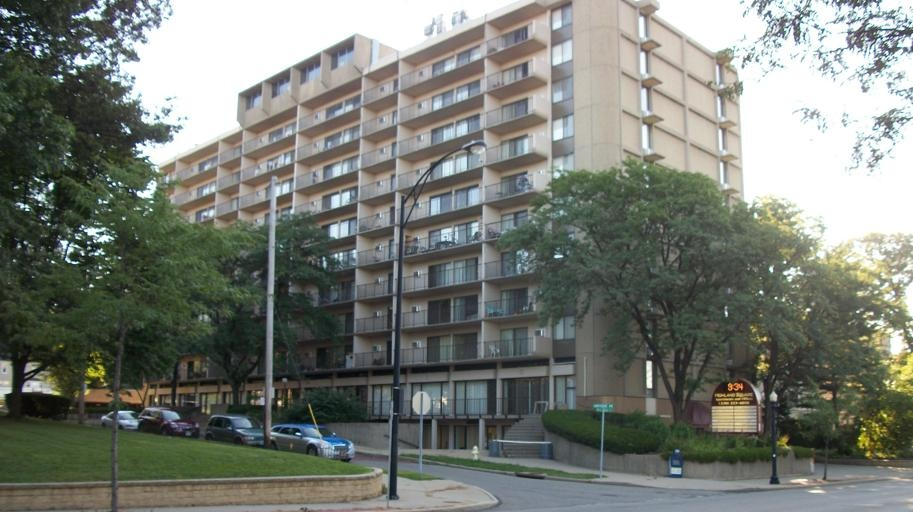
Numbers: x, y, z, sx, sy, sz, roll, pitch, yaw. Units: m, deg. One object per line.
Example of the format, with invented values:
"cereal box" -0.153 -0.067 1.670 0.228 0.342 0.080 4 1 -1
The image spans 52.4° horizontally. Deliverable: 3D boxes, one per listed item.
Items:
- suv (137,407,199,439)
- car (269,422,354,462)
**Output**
"suv" -21.978 12.637 70.350 5.154 2.461 1.738 -13 -26 35
"car" -9.866 12.416 62.103 5.590 1.740 2.552 -10 -15 39
